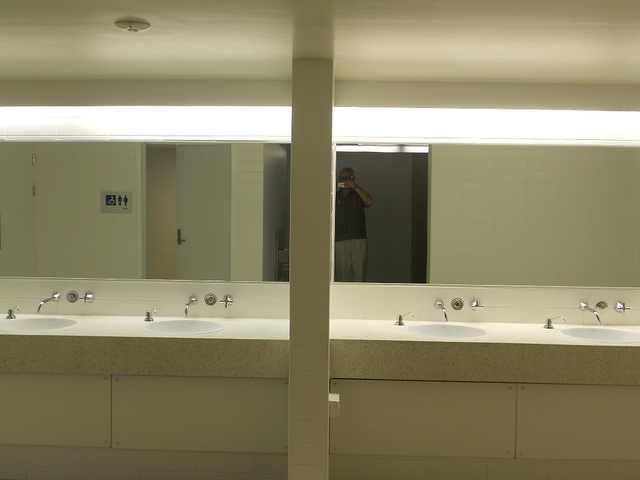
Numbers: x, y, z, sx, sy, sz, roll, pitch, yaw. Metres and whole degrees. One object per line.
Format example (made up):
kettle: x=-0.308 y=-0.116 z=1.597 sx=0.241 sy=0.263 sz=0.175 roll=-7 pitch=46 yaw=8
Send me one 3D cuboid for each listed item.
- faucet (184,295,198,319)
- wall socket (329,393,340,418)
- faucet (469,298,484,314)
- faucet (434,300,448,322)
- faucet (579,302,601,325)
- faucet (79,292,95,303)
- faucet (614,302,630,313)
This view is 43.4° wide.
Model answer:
faucet: x=-0.989 y=0.501 z=6.195 sx=0.078 sy=0.075 sz=0.197 roll=7 pitch=-87 yaw=9
wall socket: x=0.090 y=1.095 z=5.305 sx=0.098 sy=0.194 sz=0.180 roll=0 pitch=-91 yaw=1
faucet: x=1.197 y=0.501 z=6.158 sx=0.052 sy=0.056 sz=0.150 roll=8 pitch=-13 yaw=34
faucet: x=0.920 y=0.533 z=6.151 sx=0.078 sy=0.063 sz=0.175 roll=-6 pitch=-81 yaw=-1
faucet: x=2.048 y=0.560 z=6.111 sx=0.086 sy=0.218 sz=0.090 roll=0 pitch=-72 yaw=-5
faucet: x=-1.803 y=0.450 z=6.258 sx=0.085 sy=0.058 sz=0.058 roll=-6 pitch=-84 yaw=-10
faucet: x=2.310 y=0.520 z=6.167 sx=0.065 sy=0.093 sz=0.047 roll=-7 pitch=-89 yaw=-13
